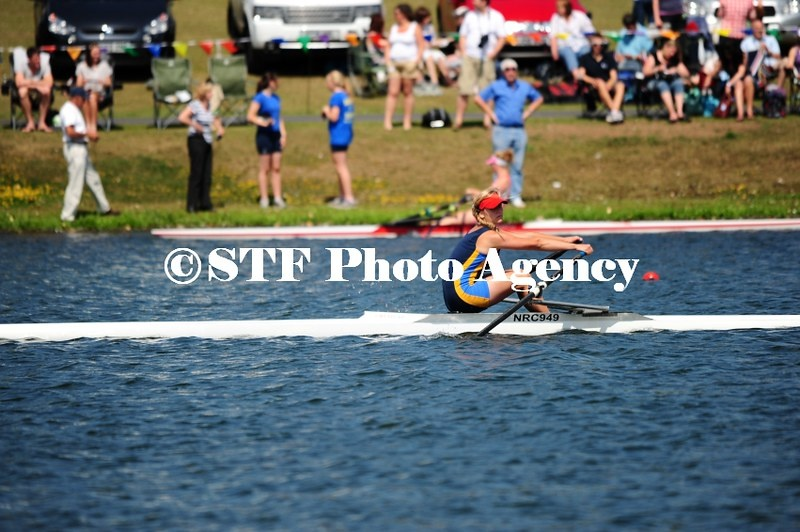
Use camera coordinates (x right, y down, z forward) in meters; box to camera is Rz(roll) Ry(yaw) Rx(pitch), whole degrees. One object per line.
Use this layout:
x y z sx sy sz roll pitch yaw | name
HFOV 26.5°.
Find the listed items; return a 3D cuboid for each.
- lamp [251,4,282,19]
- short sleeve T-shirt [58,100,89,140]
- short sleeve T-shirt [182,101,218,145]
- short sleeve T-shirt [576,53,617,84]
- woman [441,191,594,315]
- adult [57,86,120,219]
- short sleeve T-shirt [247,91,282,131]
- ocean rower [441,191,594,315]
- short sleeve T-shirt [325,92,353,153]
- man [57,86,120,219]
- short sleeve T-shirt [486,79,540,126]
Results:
-2.545 -4.868 32.736 0.560 0.238 0.127 -1 11 -5 | lamp
-5.646 -2.480 29.227 0.401 0.607 0.647 -10 31 -17 | short sleeve T-shirt
-3.515 -2.603 29.678 0.609 0.938 1.011 3 8 15 | short sleeve T-shirt
3.703 -3.563 31.798 0.954 0.619 0.462 -1 5 -3 | short sleeve T-shirt
1.503 -0.149 24.581 1.770 1.858 0.660 0 11 5 | woman
-5.573 -1.918 30.117 1.473 2.807 1.156 -2 34 -18 | adult
-2.379 -2.683 29.756 0.493 0.808 0.897 4 9 30 | short sleeve T-shirt
1.679 -0.161 24.918 2.298 1.929 0.964 -4 13 -14 | ocean rower
-1.032 -2.500 29.452 0.403 1.062 0.373 -1 11 -4 | short sleeve T-shirt
-5.573 -1.918 30.117 1.473 2.807 1.156 -2 34 -18 | man
1.947 -2.808 29.357 1.126 0.787 0.466 -3 16 -7 | short sleeve T-shirt
